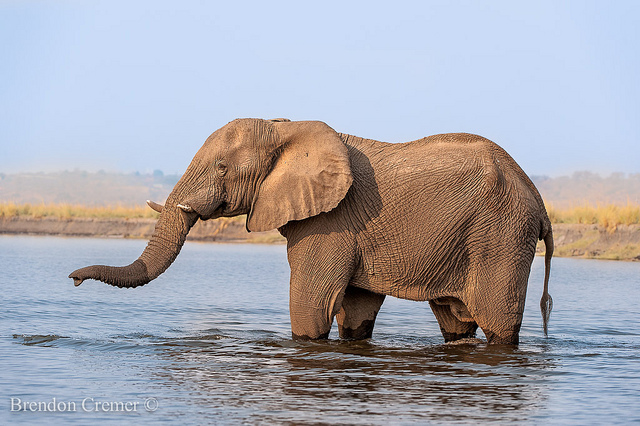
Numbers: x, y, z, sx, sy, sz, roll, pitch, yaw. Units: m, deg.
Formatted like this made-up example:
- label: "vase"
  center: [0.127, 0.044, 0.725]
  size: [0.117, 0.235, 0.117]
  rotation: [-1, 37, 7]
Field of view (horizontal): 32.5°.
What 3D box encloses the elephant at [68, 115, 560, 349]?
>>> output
- label: "elephant"
  center: [0.041, 0.677, 19.869]
  size: [9.142, 4.199, 2.845]
  rotation: [2, 0, 1]
